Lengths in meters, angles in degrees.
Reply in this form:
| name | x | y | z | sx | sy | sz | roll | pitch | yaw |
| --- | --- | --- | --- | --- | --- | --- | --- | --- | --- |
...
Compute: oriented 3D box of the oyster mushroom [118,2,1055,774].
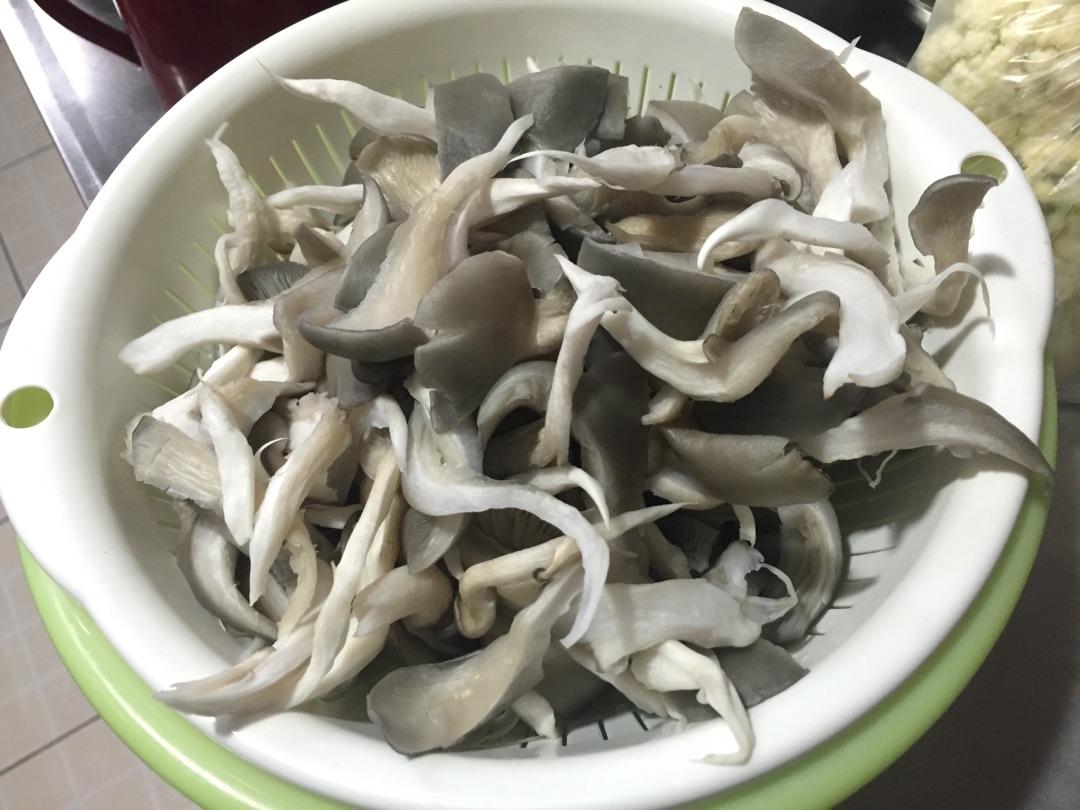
| name | x | y | z | sx | sy | sz | roll | pitch | yaw |
| --- | --- | --- | --- | --- | --- | --- | --- | --- | --- |
| oyster mushroom | 0.047 | 0.028 | 1.091 | 0.649 | 0.266 | 0.665 | -39 | 68 | -4 |
